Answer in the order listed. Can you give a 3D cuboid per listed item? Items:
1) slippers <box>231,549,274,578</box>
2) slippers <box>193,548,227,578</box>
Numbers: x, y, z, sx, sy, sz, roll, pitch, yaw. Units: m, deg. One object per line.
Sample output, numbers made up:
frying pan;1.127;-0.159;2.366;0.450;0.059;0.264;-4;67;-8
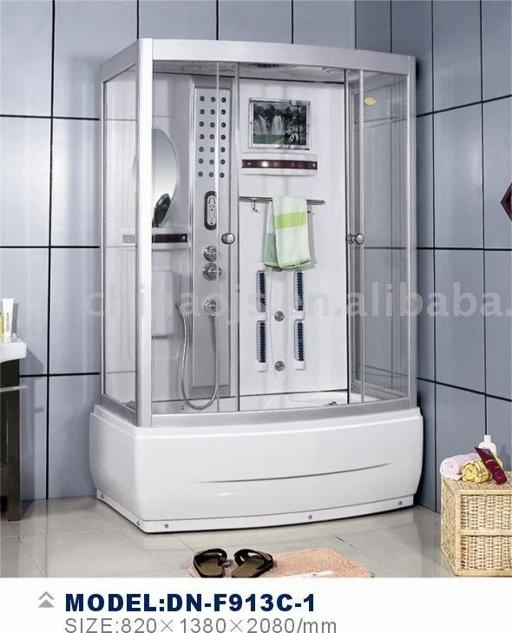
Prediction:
slippers;-0.009;0.803;1.943;0.140;0.041;0.214;-1;2;0
slippers;-0.149;0.807;1.952;0.114;0.052;0.254;-1;2;-4
